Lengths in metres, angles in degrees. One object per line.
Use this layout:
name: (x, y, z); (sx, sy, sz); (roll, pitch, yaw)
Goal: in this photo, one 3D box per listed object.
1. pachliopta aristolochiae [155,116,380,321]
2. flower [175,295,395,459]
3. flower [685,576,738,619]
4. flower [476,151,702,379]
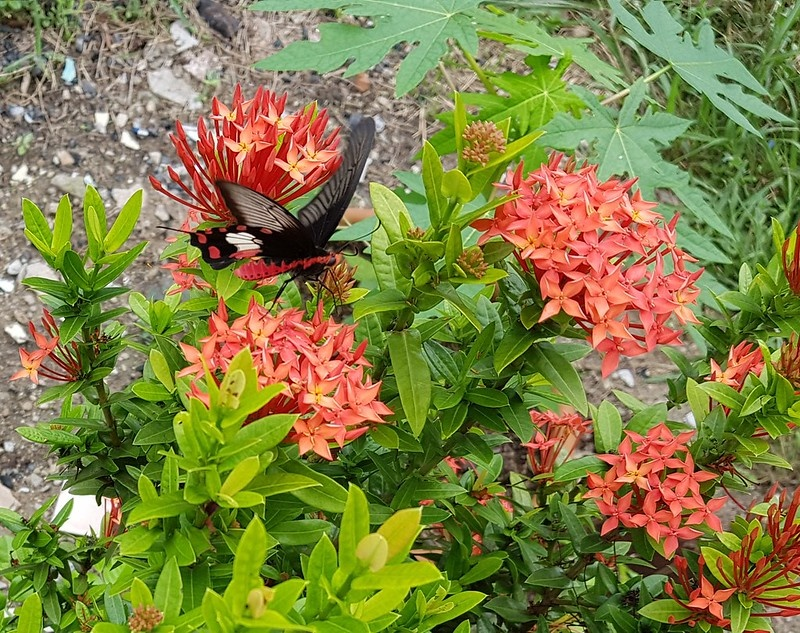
pachliopta aristolochiae: (-0.321, -0.305, 2.637); (0.694, 0.618, 0.226); (-26, 50, -14)
flower: (-0.263, 0.149, 2.427); (0.542, 0.514, 0.706); (-7, 23, -10)
flower: (0.959, 0.900, 2.556); (0.131, 0.060, 0.137); (21, 75, 18)
flower: (0.577, -0.199, 2.409); (0.699, 0.401, 0.678); (44, 36, -5)
